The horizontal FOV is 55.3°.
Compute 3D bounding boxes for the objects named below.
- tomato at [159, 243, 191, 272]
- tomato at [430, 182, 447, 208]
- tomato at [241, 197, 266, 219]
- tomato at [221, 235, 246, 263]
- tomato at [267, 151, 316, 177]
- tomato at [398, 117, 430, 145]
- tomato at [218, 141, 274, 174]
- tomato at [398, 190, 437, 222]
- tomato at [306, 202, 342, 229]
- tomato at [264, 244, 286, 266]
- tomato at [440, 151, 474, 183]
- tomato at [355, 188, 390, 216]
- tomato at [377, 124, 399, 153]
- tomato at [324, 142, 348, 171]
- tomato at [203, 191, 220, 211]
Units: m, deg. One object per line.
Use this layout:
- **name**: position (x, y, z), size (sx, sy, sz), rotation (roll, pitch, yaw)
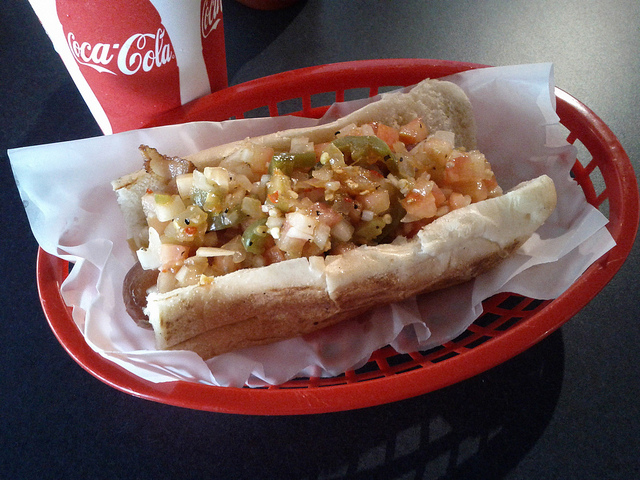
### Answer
- **tomato**: position (-0.522, 0.061, 2.185), size (0.098, 0.058, 0.082), rotation (-1, 59, 0)
- **tomato**: position (0.441, -0.168, 2.264), size (0.056, 0.029, 0.081), rotation (-10, 91, -13)
- **tomato**: position (-0.241, -0.115, 2.213), size (0.092, 0.036, 0.073), rotation (22, 79, -17)
- **tomato**: position (-0.310, 0.033, 2.223), size (0.075, 0.034, 0.090), rotation (-20, 61, -12)
- **tomato**: position (-0.103, -0.299, 2.256), size (0.130, 0.051, 0.095), rotation (-18, 68, -10)
- **tomato**: position (0.373, -0.433, 2.399), size (0.101, 0.038, 0.103), rotation (-28, 72, -17)
- **tomato**: position (-0.288, -0.339, 2.329), size (0.201, 0.236, 0.073), rotation (-5, 69, -20)
- **tomato**: position (0.360, -0.127, 2.253), size (0.139, 0.076, 0.089), rotation (-1, 59, 0)
- **tomato**: position (0.022, -0.093, 2.181), size (0.088, 0.029, 0.089), rotation (40, 39, 12)
- **tomato**: position (-0.165, 0.049, 2.220), size (0.075, 0.041, 0.063), rotation (-2, 59, -1)
- **tomato**: position (0.524, -0.270, 2.295), size (0.119, 0.066, 0.066), rotation (-15, 60, -8)
- **tomato**: position (0.195, -0.141, 2.232), size (0.123, 0.059, 0.078), rotation (-16, 60, -9)
- **tomato**: position (0.263, -0.391, 2.363), size (0.087, 0.042, 0.113), rotation (8, 60, 5)
- **tomato**: position (0.061, -0.304, 2.261), size (0.071, 0.059, 0.116), rotation (-15, 60, -8)
- **tomato**: position (-0.391, -0.137, 2.206), size (0.041, 0.041, 0.060), rotation (31, 64, 18)
